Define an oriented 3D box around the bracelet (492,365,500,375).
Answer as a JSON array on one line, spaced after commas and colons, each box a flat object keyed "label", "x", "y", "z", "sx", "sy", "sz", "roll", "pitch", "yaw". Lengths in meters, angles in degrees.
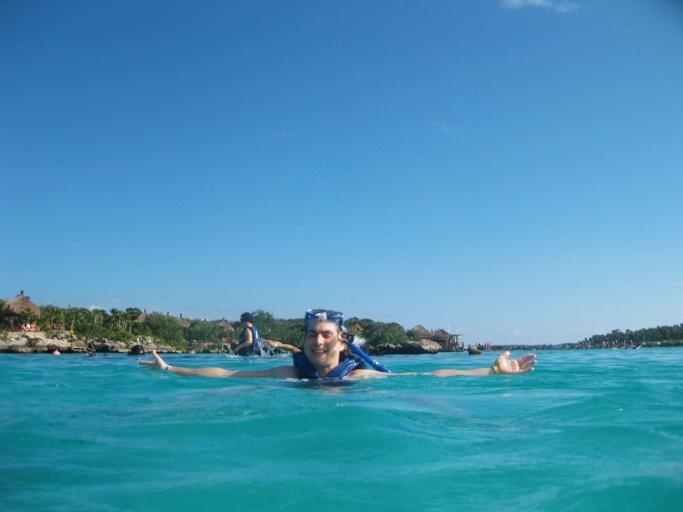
[{"label": "bracelet", "x": 2.339, "y": 1.721, "z": 9.407, "sx": 0.099, "sy": 0.104, "sz": 0.116, "roll": 2, "pitch": -15, "yaw": -8}]
